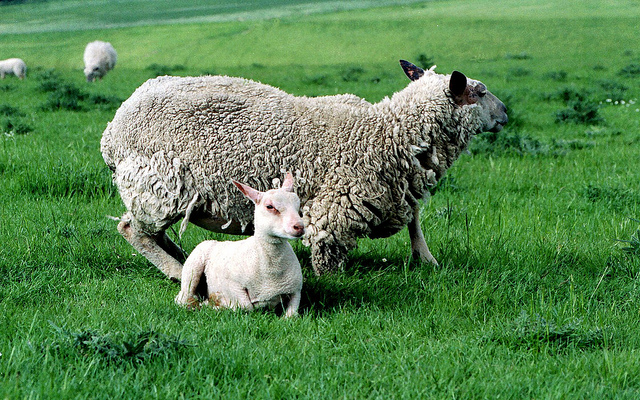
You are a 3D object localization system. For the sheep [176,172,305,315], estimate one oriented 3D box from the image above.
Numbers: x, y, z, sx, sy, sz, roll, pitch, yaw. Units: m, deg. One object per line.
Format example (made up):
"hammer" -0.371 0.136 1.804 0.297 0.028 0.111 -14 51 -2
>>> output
"sheep" -0.910 0.621 9.877 1.191 1.804 2.311 1 0 -42
